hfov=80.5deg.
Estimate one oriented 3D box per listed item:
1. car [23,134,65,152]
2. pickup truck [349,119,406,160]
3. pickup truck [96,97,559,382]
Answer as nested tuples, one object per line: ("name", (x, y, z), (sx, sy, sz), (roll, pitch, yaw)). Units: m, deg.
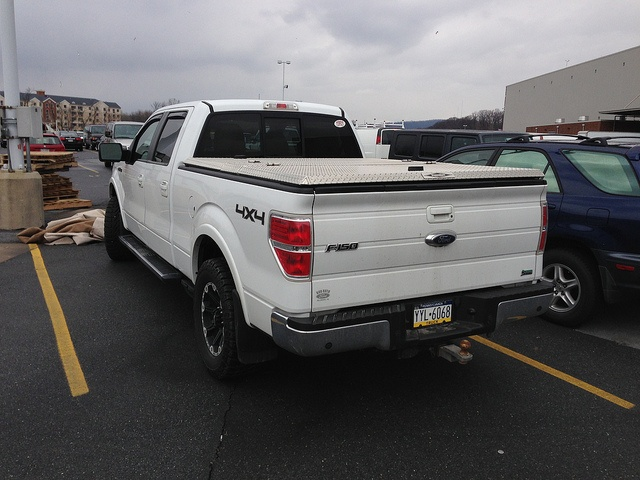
("car", (-18.488, -6.617, 25.492), (1.282, 1.099, 2.921), (-4, 14, -20))
("pickup truck", (2.762, -4.142, 16.318), (1.331, 1.685, 2.660), (-17, 14, -4))
("pickup truck", (-0.659, -0.218, 4.365), (2.412, 1.966, 5.063), (-3, 16, -33))
